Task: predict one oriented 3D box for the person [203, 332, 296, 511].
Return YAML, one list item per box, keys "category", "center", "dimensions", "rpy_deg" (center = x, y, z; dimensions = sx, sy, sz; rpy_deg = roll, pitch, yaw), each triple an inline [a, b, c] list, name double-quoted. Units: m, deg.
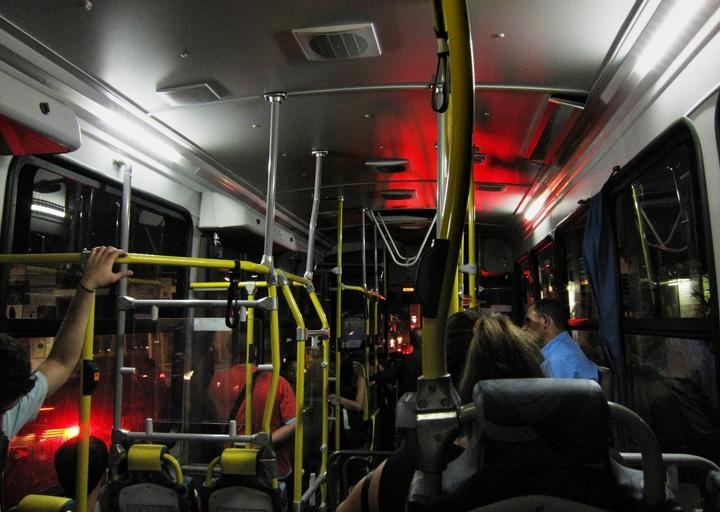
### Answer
- category: "person"
  center: [-0.892, 1.315, 4.387]
  dimensions: [0.870, 1.152, 0.412]
  rpy_deg: [3, 20, 12]
